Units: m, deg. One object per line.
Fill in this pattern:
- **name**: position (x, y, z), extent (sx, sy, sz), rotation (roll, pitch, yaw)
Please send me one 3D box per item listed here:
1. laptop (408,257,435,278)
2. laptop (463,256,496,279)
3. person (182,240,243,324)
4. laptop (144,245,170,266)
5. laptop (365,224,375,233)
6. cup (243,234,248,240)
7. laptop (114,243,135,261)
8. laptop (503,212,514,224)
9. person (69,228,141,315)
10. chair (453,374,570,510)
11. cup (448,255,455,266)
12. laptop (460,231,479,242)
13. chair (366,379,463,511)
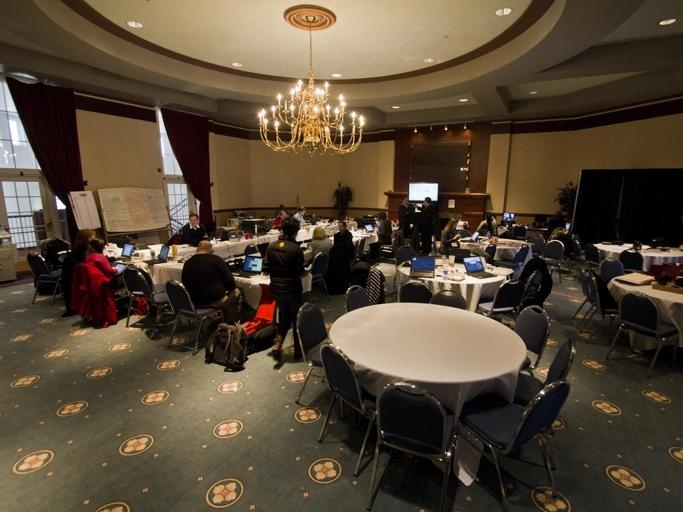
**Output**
- **laptop**: position (1.239, 0.150, 6.443), extent (0.367, 0.295, 0.287), rotation (2, 3, 14)
- **laptop**: position (2.094, 0.161, 6.533), extent (0.330, 0.335, 0.209), rotation (4, -2, -10)
- **person**: position (-1.856, 0.452, 6.105), extent (0.798, 1.027, 0.315), rotation (-6, 11, -19)
- **laptop**: position (-3.213, -0.004, 7.397), extent (0.406, 0.366, 0.305), rotation (13, 3, 32)
- **laptop**: position (0.761, -0.709, 11.133), extent (0.232, 0.057, 0.234), rotation (37, 37, 27)
- **cup**: position (-2.050, -0.420, 9.084), extent (0.101, 0.140, 0.105), rotation (0, 13, 0)
- **laptop**: position (-3.924, -0.078, 7.747), extent (0.324, 0.250, 0.265), rotation (3, -8, 6)
- **laptop**: position (5.012, -1.142, 12.695), extent (0.282, 0.305, 0.155), rotation (5, 19, 14)
- **person**: position (-3.975, 0.323, 6.903), extent (0.854, 1.502, 0.733), rotation (-8, 12, -32)
- **chair**: position (1.650, 1.843, 4.203), extent (0.733, 1.394, 0.918), rotation (-11, 22, -24)
- **cup**: position (1.791, 0.062, 6.907), extent (0.095, 0.163, 0.215), rotation (0, 10, 12)
- **laptop**: position (3.208, -0.501, 10.605), extent (0.472, 0.215, 0.352), rotation (4, 5, -19)
- **chair**: position (0.679, 1.743, 4.089), extent (0.817, 1.264, 0.523), rotation (1, 11, 17)
